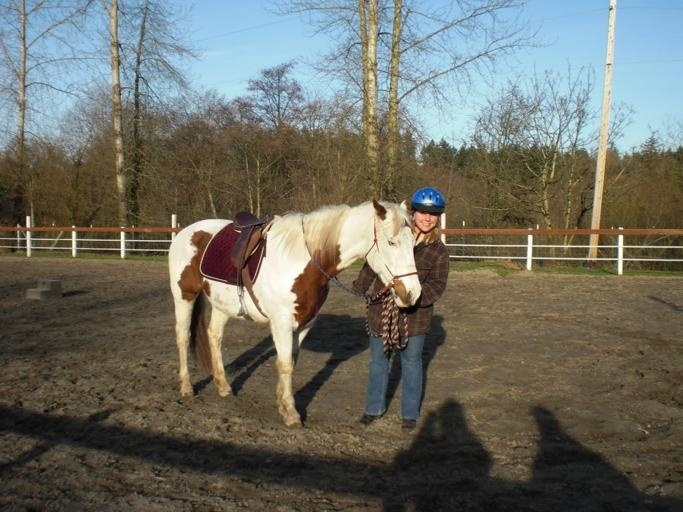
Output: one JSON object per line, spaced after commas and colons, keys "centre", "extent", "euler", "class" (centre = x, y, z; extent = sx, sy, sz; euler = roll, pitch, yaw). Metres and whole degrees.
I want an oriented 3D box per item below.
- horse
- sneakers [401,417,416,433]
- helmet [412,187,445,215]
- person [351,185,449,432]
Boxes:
{"centre": [-0.813, 0.670, 8.278], "extent": [3.552, 2.834, 0.982], "euler": [5, 6, 29], "class": "horse"}
{"centre": [0.790, 1.940, 7.699], "extent": [0.177, 0.115, 0.157], "euler": [1, 15, 6], "class": "sneakers"}
{"centre": [1.000, -0.638, 7.725], "extent": [0.384, 0.307, 0.348], "euler": [1, 15, 5], "class": "helmet"}
{"centre": [0.721, 0.571, 7.813], "extent": [0.997, 2.679, 0.962], "euler": [4, 15, 16], "class": "person"}
